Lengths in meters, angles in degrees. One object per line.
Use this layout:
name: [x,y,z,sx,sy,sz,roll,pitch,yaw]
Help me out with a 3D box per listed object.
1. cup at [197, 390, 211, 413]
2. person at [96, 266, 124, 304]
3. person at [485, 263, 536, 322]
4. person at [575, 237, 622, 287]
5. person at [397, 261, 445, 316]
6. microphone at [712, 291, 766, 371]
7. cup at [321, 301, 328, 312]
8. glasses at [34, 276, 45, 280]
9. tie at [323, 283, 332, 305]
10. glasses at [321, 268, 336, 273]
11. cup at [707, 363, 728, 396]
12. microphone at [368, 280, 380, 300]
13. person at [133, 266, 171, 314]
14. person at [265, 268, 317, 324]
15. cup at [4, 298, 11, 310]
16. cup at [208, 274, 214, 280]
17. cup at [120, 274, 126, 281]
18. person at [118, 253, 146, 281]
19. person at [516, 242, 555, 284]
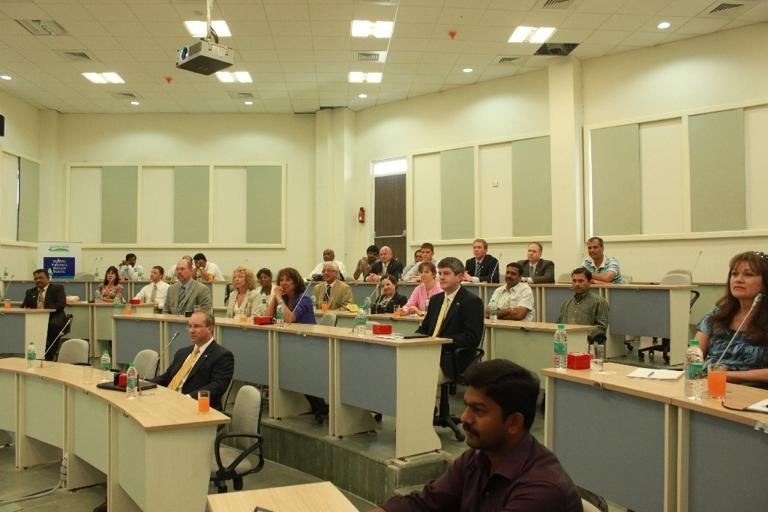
cup: [-1.438,1.159,4.494,0.071,0.174,0.065,0,-1,0]
person: [-5.309,0.588,10.896,0.471,0.715,0.429,6,0,-5]
person: [1.724,0.654,7.742,0.679,1.017,0.586,-2,-7,38]
person: [3.345,0.140,8.746,0.825,0.863,0.699,2,-4,-43]
person: [0.510,0.442,7.282,0.489,0.705,0.668,-9,-7,33]
microphone: [2.921,0.624,4.616,0.083,0.675,0.094,27,-11,-7]
cup: [-0.889,0.761,8.389,0.100,0.180,0.098,-1,3,0]
glasses: [-5.778,0.370,9.420,0.180,0.057,0.075,0,-1,25]
tie: [-0.867,0.562,8.690,0.051,0.233,0.151,7,-13,-23]
glasses: [-0.828,0.212,8.580,0.187,0.069,0.202,1,-1,-10]
cup: [2.358,0.883,3.999,0.107,0.207,0.196,0,-1,29]
microphone: [-0.155,0.593,9.690,0.089,0.360,0.224,-1,5,-39]
person: [-4.311,0.655,10.420,0.741,0.860,0.661,4,-1,-35]
person: [-1.198,0.614,7.119,0.581,0.931,0.653,2,6,7]
cup: [-6.278,0.795,9.395,0.148,0.197,0.145,-1,-3,0]
cup: [-3.798,0.464,12.395,0.123,0.088,0.123,1,-1,0]
cup: [-5.798,0.477,12.518,0.118,0.099,0.117,0,-5,0]
person: [-5.999,0.264,13.346,0.362,0.750,0.440,-9,-33,-9]
person: [2.561,0.122,9.437,0.566,0.918,0.518,-9,-18,35]
